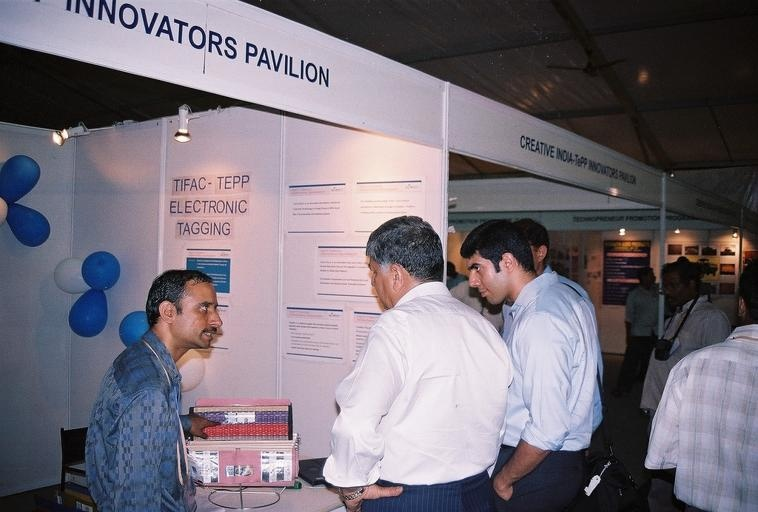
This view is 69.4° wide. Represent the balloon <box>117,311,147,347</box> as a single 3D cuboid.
[{"bbox_3d":[-2.108,0.634,4.697,0.242,0.287,0.253,6,-5,21],"label":"balloon"}]

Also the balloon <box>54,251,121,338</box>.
[{"bbox_3d":[-2.593,0.330,5.182,0.715,0.751,0.310,11,3,32],"label":"balloon"}]

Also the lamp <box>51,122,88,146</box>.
[{"bbox_3d":[-2.987,-1.183,5.294,0.308,0.127,0.233,-28,21,-24],"label":"lamp"}]

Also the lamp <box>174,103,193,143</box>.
[{"bbox_3d":[-1.650,-1.129,4.590,0.127,0.323,0.519,2,0,-20],"label":"lamp"}]
